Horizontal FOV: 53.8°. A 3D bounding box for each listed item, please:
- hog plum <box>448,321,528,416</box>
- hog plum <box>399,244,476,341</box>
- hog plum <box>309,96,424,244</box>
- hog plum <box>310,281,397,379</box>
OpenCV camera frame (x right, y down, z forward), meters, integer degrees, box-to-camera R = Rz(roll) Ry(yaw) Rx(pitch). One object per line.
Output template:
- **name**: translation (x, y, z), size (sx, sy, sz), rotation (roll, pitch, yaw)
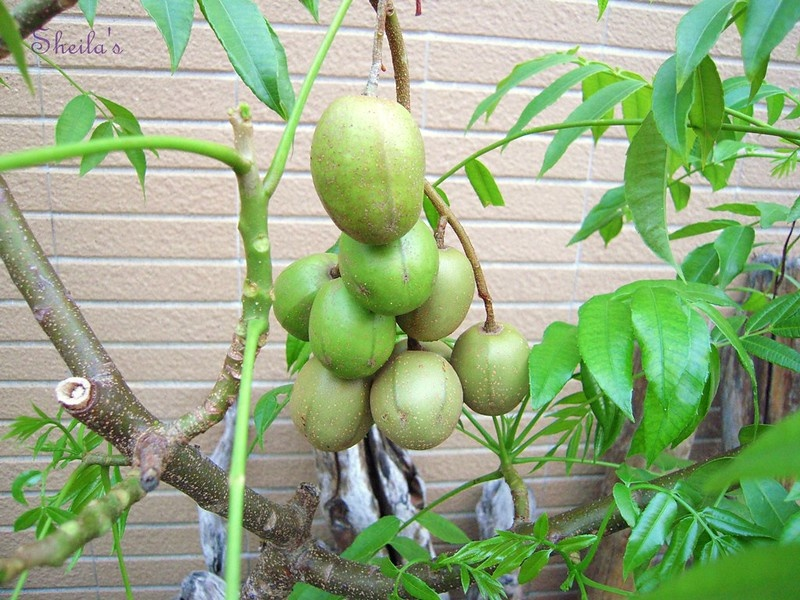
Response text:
- **hog plum**: translation (0.132, 0.087, 1.112), size (0.111, 0.143, 0.118), rotation (7, 32, 17)
- **hog plum**: translation (0.053, -0.002, 1.098), size (0.106, 0.144, 0.110), rotation (11, 19, 17)
- **hog plum**: translation (-0.035, -0.147, 0.960), size (0.149, 0.208, 0.152), rotation (5, 7, 38)
- **hog plum**: translation (-0.057, 0.022, 1.059), size (0.113, 0.151, 0.111), rotation (8, 19, 28)
